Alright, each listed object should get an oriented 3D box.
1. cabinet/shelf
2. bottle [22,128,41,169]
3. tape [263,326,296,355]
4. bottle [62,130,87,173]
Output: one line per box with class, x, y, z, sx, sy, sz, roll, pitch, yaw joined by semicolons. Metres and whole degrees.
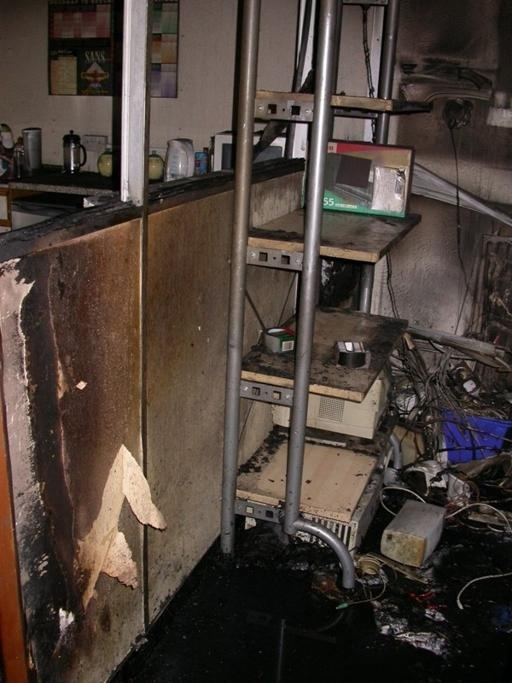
cabinet/shelf;0.200;-0.183;1.882;0.514;1.839;0.892;6;11;16
bottle;-1.331;-1.146;3.711;0.083;0.244;0.130;12;15;41
tape;0.072;-0.014;1.975;0.060;0.042;0.090;2;25;-3
bottle;-1.085;-1.146;3.741;0.136;0.238;0.138;10;34;-7
